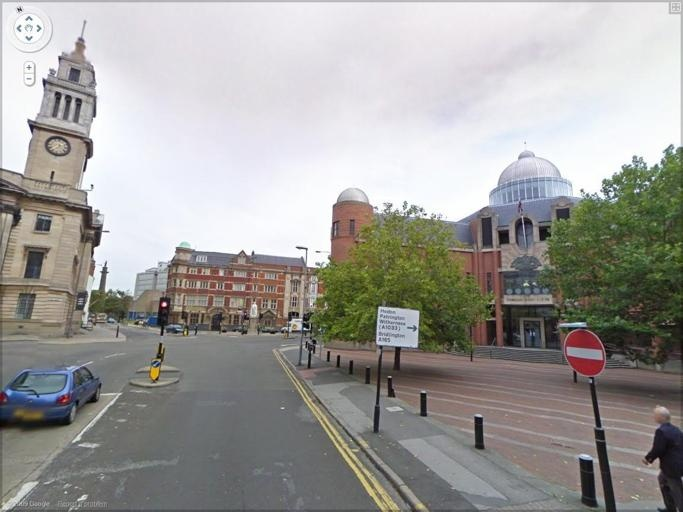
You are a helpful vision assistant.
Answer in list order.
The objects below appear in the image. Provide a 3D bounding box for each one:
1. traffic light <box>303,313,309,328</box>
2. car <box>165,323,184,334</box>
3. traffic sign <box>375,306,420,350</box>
[{"bbox_3d":[-2.339,4.383,32.597,0.382,1.022,1.426,2,-1,-6],"label":"traffic light"},{"bbox_3d":[-22.200,9.619,63.886,2.209,1.112,1.364,-11,-13,33],"label":"car"},{"bbox_3d":[2.190,2.776,18.818,2.424,2.106,0.286,3,-5,-9],"label":"traffic sign"}]
